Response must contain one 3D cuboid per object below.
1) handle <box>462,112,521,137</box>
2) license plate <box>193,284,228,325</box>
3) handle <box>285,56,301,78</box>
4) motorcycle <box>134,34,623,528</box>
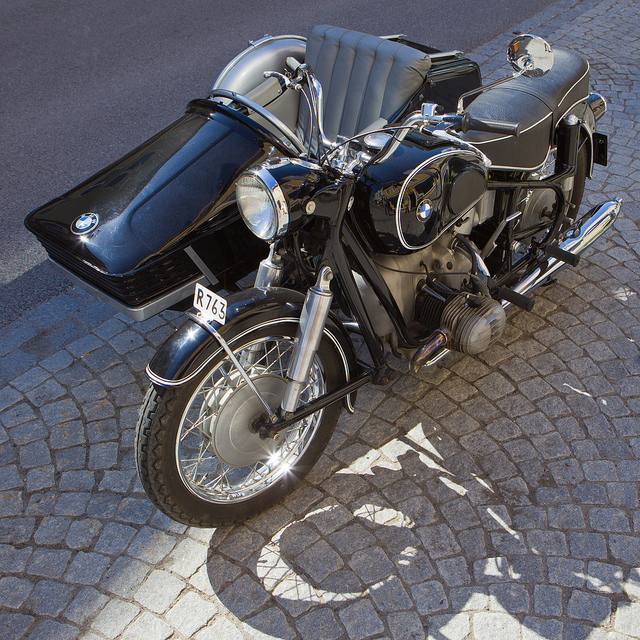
[{"bbox_3d":[0.663,-0.751,2.534,0.221,0.094,0.112,8,14,13],"label":"handle"},{"bbox_3d":[-0.418,-0.057,2.504,0.200,0.123,0.004,31,36,18],"label":"license plate"},{"bbox_3d":[-0.097,-0.993,2.620,0.048,0.090,0.024,-52,33,-7],"label":"handle"},{"bbox_3d":[0.304,-0.111,3.081,2.772,1.563,1.131,-32,44,-22],"label":"motorcycle"}]
